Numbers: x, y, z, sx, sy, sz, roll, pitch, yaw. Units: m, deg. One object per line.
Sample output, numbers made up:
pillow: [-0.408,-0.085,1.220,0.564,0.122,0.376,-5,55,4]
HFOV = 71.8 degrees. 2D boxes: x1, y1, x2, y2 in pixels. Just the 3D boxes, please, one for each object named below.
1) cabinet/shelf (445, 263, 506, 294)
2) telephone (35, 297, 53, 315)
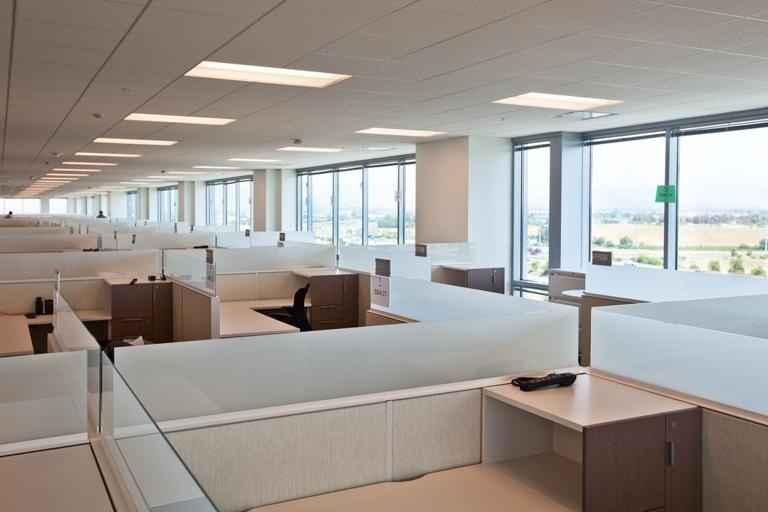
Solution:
cabinet/shelf: [1.467,0.282,8.652,0.663,0.554,0.663,-1,2,-30]
telephone: [-3.773,0.563,5.884,0.216,0.179,0.117,1,-1,-15]
